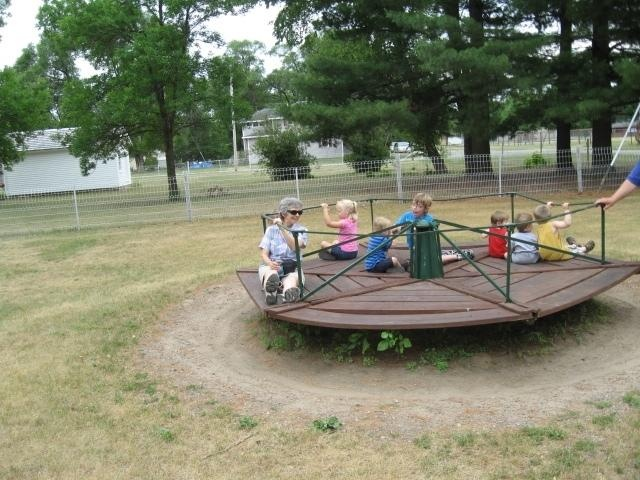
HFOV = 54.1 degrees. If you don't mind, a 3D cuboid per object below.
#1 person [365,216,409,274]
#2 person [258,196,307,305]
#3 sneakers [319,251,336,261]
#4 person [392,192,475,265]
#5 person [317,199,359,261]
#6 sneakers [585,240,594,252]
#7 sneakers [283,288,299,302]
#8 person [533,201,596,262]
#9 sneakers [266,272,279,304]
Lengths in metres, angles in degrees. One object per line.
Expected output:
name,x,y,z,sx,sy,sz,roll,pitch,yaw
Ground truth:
person,1.040,0.088,9.593,0.793,0.802,0.670,1,13,5
person,-0.510,0.122,8.619,0.723,1.344,1.053,-8,11,-4
sneakers,0.143,0.325,10.577,0.161,0.057,0.258,-38,28,-14
person,1.600,-0.135,9.612,1.365,1.083,0.718,-4,11,-18
person,0.323,-0.165,10.047,0.904,0.908,0.826,-4,10,-29
sneakers,4.348,0.108,10.160,0.078,0.197,0.093,13,-19,-8
sneakers,-0.356,0.725,8.296,0.253,0.125,0.114,-13,0,-22
person,3.689,-0.115,9.722,1.282,0.757,0.697,-4,5,-42
sneakers,-0.621,0.644,8.237,0.171,0.389,0.186,2,-1,-8
